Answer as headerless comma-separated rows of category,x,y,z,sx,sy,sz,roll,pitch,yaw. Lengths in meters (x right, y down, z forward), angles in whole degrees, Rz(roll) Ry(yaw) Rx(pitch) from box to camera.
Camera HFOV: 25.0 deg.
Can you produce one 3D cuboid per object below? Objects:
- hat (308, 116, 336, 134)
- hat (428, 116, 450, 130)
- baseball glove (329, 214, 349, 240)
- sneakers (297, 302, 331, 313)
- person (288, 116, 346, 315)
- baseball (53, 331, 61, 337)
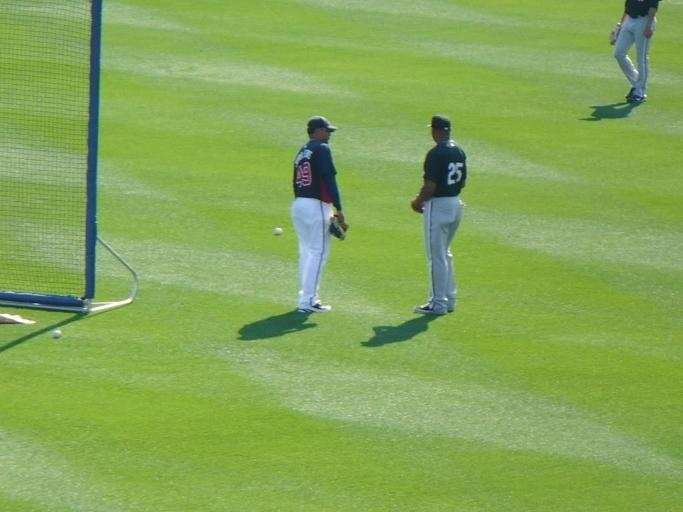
hat,-0.309,-1.783,21.059,0.436,0.172,0.261,1,17,-6
hat,1.345,-1.823,20.873,0.253,0.176,0.269,10,19,2
baseball glove,-0.070,-0.391,21.001,0.268,0.098,0.291,19,45,-35
sneakers,-0.375,0.712,21.184,0.478,0.144,0.147,-1,3,-2
person,-0.347,-0.566,21.076,0.794,2.597,1.021,8,22,-10
baseball,-3.765,1.033,20.346,0.099,0.056,0.091,-1,4,-30
